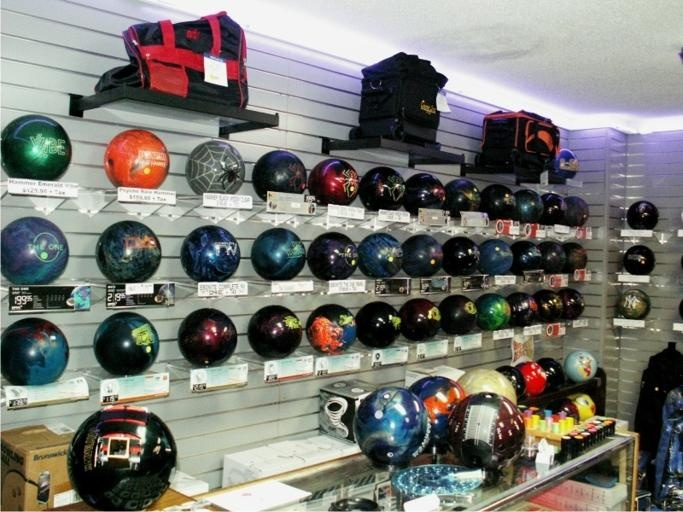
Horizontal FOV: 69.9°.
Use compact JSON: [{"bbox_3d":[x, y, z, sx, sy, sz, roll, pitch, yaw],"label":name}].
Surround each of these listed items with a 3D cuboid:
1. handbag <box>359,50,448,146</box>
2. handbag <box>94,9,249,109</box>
[{"bbox_3d":[0.470,-1.195,3.976,0.639,0.665,0.739,9,8,42],"label":"handbag"},{"bbox_3d":[-0.931,-1.142,2.824,0.809,0.541,0.570,-14,44,-36],"label":"handbag"}]
